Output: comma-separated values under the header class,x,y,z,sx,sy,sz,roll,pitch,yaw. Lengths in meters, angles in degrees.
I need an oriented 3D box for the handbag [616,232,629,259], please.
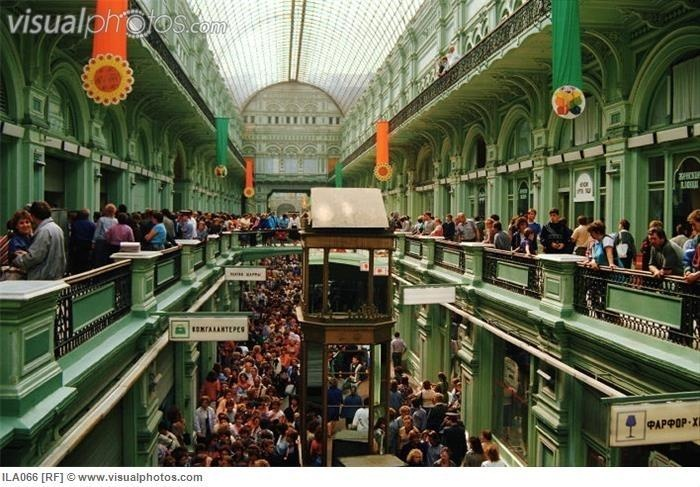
class,x,y,z,sx,sy,sz,roll,pitch,yaw
handbag,5.575,0.020,11.115,0.209,0.520,0.189,3,3,38
